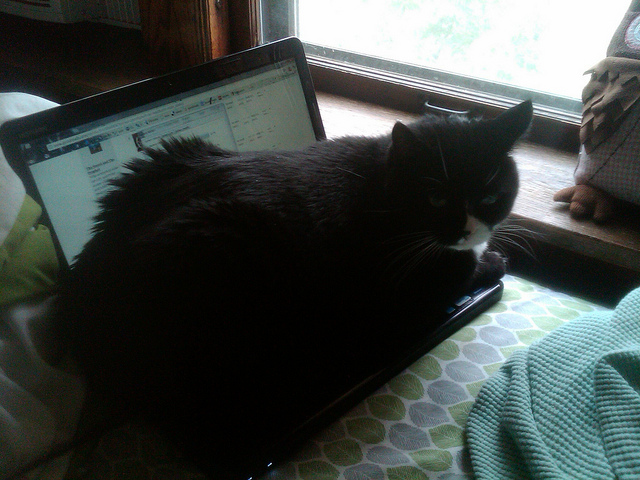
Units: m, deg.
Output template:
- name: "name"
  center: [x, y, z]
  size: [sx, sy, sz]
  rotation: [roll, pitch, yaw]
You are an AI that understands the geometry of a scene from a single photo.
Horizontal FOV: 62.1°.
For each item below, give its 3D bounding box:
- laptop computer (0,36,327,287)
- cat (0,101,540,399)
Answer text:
- name: "laptop computer"
  center: [-0.238, -0.138, 0.781]
  size: [0.464, 0.347, 0.269]
  rotation: [-21, 41, -26]
- name: "cat"
  center: [-0.040, 0.022, 0.803]
  size: [0.645, 0.258, 0.333]
  rotation: [-19, 39, -7]
